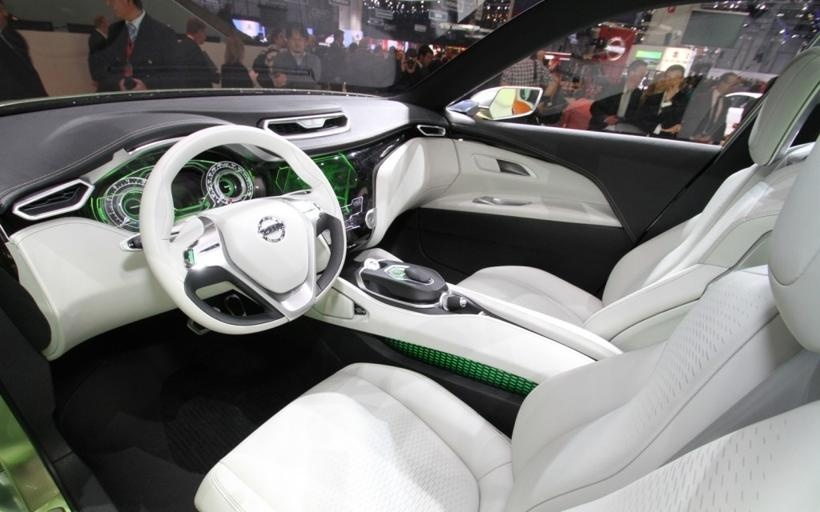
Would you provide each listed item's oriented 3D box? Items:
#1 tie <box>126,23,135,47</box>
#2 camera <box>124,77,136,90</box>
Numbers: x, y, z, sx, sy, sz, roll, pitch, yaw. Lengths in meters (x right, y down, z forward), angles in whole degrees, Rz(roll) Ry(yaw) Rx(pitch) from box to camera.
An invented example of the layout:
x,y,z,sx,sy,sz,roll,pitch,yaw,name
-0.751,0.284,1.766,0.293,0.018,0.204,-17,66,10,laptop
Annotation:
x,y,z,sx,sy,sz,roll,pitch,yaw,name
-0.999,-0.784,1.704,0.007,0.063,0.028,28,39,26,tie
-1.022,-0.622,1.733,0.011,0.041,0.041,-1,32,42,camera
